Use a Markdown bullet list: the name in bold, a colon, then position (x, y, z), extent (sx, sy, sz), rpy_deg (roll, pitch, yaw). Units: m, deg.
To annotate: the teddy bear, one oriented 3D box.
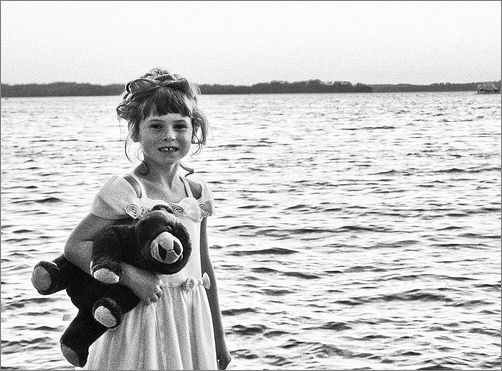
- **teddy bear**: position (-1.087, 0.719, 7.028), extent (1.525, 0.544, 0.953), rpy_deg (-30, 15, 13)
